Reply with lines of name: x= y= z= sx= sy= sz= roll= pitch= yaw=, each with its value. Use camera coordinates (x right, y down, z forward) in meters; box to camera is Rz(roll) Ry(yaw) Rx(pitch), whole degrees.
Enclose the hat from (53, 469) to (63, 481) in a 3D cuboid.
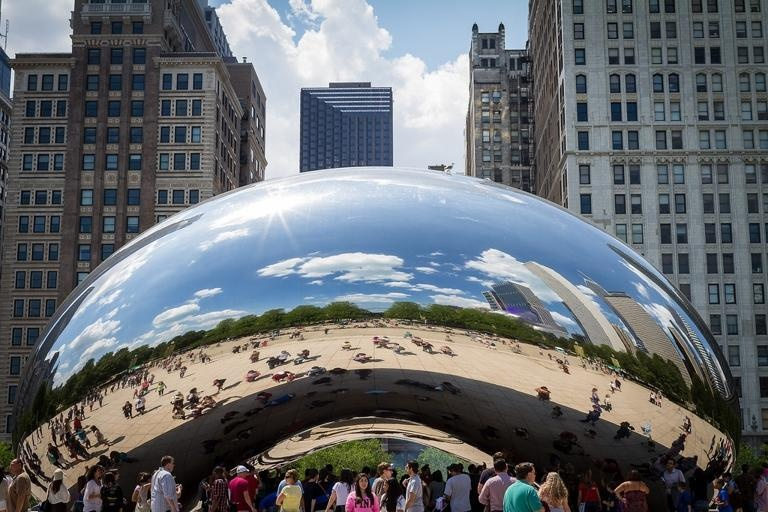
hat: x=-3.807 y=2.547 z=7.955 sx=0.149 sy=0.068 sz=0.143 roll=2 pitch=-3 yaw=-29
